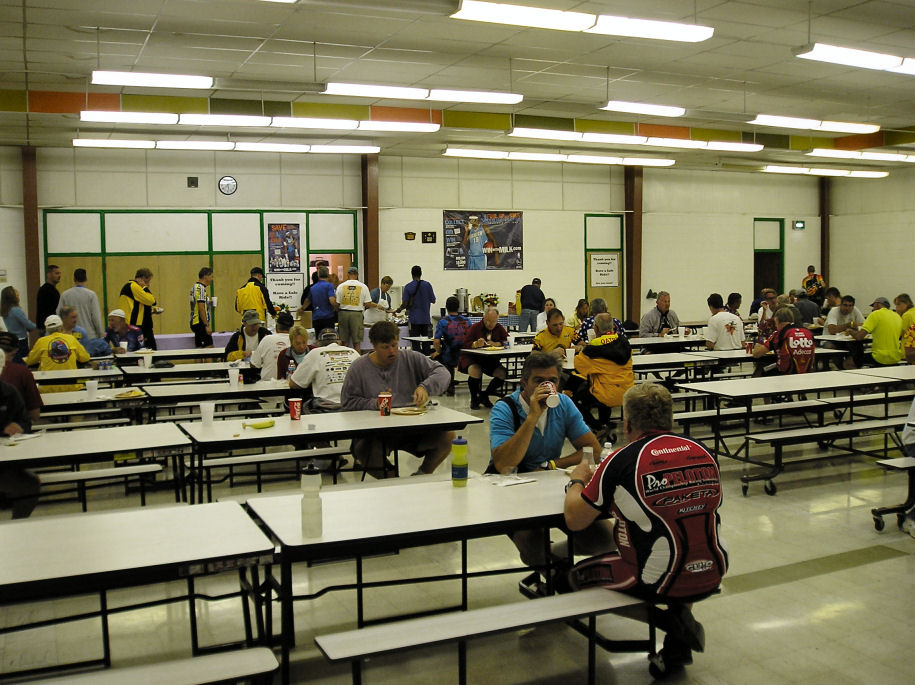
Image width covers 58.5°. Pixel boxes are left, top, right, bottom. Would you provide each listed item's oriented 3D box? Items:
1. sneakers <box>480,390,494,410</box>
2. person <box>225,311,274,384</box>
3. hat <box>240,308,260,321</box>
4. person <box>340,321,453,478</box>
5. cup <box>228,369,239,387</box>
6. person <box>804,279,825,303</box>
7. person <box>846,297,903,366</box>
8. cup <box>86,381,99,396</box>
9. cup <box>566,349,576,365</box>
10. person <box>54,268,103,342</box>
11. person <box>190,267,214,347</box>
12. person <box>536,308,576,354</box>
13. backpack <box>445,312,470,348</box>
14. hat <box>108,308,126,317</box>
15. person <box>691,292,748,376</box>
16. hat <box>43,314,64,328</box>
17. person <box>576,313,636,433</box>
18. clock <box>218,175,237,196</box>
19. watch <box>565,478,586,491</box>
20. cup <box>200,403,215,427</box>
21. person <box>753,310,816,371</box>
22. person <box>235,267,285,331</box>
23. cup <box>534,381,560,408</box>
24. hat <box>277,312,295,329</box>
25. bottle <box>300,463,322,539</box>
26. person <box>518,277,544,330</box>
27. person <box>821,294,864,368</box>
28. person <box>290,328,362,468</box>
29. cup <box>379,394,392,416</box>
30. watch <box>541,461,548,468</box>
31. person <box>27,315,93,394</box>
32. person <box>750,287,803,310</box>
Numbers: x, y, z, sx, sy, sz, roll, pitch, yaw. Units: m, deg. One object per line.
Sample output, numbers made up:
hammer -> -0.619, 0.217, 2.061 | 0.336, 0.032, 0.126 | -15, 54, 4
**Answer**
sneakers -> 0.413, 0.808, 11.387 | 0.159, 0.226, 0.222 | -14, -5, 35
person -> -2.450, 0.232, 9.782 | 0.601, 1.173, 0.613 | -5, 2, -13
hat -> -2.382, -0.310, 9.361 | 0.165, 0.079, 0.234 | -6, 8, -33
person -> -0.537, 0.492, 6.840 | 0.967, 1.370, 0.837 | -7, 13, -32
cup -> -2.085, 0.328, 7.656 | 0.079, 0.165, 0.244 | -4, 6, -14
person -> 7.009, -1.006, 16.013 | 0.329, 0.532, 0.773 | 0, 6, 22
person -> 5.704, -0.123, 10.931 | 0.393, 0.894, 0.676 | 3, 8, 41
cup -> -3.218, 0.414, 7.264 | 0.132, 0.147, 0.128 | 0, 4, 0
cup -> 1.301, 0.171, 9.452 | 0.138, 0.177, 0.160 | -2, 5, -9
person -> -5.693, -0.439, 12.173 | 0.529, 1.505, 0.408 | 4, 38, -32
person -> -4.017, -0.530, 12.896 | 0.337, 1.262, 1.000 | -4, 6, -17
person -> 1.285, -0.138, 10.795 | 0.467, 0.891, 0.453 | -8, 20, -12
backpack -> 0.005, -0.175, 11.770 | 0.363, 0.543, 0.423 | 1, 0, 1
hat -> -4.697, -0.408, 11.312 | 0.225, 0.089, 0.242 | 4, 1, 45
person -> 3.525, -0.102, 10.978 | 0.581, 1.072, 0.574 | -10, 13, -26
hat -> -4.474, -0.221, 9.108 | 0.207, 0.176, 0.279 | -6, 10, -40
person -> 1.546, 0.393, 8.854 | 0.604, 1.419, 0.732 | -13, 19, -36
clock -> -4.307, -2.940, 15.285 | 0.375, 0.389, 0.049 | -1, 0, -24
watch -> 0.658, 0.815, 4.662 | 0.082, 0.037, 0.071 | -2, -3, 31
cup -> -1.871, 0.537, 6.138 | 0.096, 0.187, 0.268 | -4, 6, -18
person -> 3.615, -0.014, 9.052 | 0.604, 0.745, 0.501 | 0, 6, 20
person -> -3.227, -0.401, 13.038 | 0.526, 1.362, 0.495 | -10, -28, 6
cup -> 0.563, 0.344, 5.142 | 0.136, 0.150, 0.152 | 6, 33, 2
hat -> -1.897, -0.247, 9.035 | 0.145, 0.193, 0.195 | 1, 15, -12
bottle -> -0.766, 0.825, 4.263 | 0.111, 0.354, 0.206 | -3, 6, -11
person -> 1.364, -0.540, 15.080 | 0.399, 1.267, 0.391 | 5, 12, -4
person -> 5.957, -0.123, 12.560 | 0.652, 1.113, 0.651 | 7, 9, 35
person -> -1.152, 0.422, 7.578 | 0.737, 1.011, 0.475 | 2, 5, -35
cup -> -0.573, 0.496, 6.470 | 0.141, 0.158, 0.139 | -1, 0, 0
watch -> 0.577, 0.819, 5.475 | 0.032, 0.034, 0.010 | 0, -32, -3
person -> -4.482, 0.261, 9.157 | 0.531, 1.197, 0.371 | -4, 28, -34
person -> 5.453, -0.755, 14.104 | 0.864, 0.376, 0.889 | -2, 3, 14
